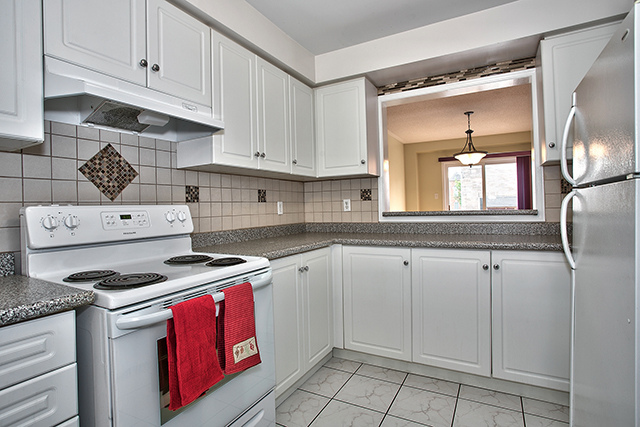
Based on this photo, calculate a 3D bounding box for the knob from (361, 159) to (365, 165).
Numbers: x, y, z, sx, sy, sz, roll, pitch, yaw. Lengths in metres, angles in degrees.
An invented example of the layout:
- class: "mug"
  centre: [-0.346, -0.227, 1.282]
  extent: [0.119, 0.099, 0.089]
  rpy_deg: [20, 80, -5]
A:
- class: "knob"
  centre: [0.373, -0.452, 3.500]
  extent: [0.024, 0.022, 0.024]
  rpy_deg: [11, 26, 29]

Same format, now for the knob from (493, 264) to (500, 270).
- class: "knob"
  centre: [1.215, 0.364, 2.784]
  extent: [0.042, 0.042, 0.016]
  rpy_deg: [5, 5, 28]

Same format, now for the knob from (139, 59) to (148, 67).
- class: "knob"
  centre: [-1.014, -0.872, 2.329]
  extent: [0.019, 0.038, 0.039]
  rpy_deg: [1, -20, 38]

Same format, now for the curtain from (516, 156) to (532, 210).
- class: "curtain"
  centre: [3.633, -0.563, 7.208]
  extent: [0.213, 0.937, 0.344]
  rpy_deg: [-2, 2, 22]

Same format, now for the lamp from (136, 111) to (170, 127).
- class: "lamp"
  centre: [-1.025, -0.581, 2.481]
  extent: [0.215, 0.057, 0.209]
  rpy_deg: [-1, 3, 35]

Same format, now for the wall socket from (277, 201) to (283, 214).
- class: "wall socket"
  centre: [-0.365, -0.056, 3.705]
  extent: [0.015, 0.143, 0.112]
  rpy_deg: [-3, -5, 29]

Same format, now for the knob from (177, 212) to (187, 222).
- class: "knob"
  centre: [-0.879, 0.018, 2.575]
  extent: [0.041, 0.054, 0.054]
  rpy_deg: [-8, -20, -10]

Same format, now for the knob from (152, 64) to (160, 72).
- class: "knob"
  centre: [-0.962, -0.862, 2.375]
  extent: [0.038, 0.037, 0.019]
  rpy_deg: [14, -11, -43]

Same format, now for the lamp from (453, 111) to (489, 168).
- class: "lamp"
  centre: [2.264, -1.136, 6.123]
  extent: [0.531, 0.806, 0.521]
  rpy_deg: [-4, 3, -34]

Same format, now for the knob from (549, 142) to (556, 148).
- class: "knob"
  centre: [1.670, -0.492, 2.895]
  extent: [0.033, 0.033, 0.017]
  rpy_deg: [17, 23, 31]

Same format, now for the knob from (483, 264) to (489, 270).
- class: "knob"
  centre: [1.154, 0.370, 2.810]
  extent: [0.032, 0.021, 0.033]
  rpy_deg: [4, 20, 31]

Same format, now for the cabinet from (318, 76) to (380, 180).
- class: "cabinet"
  centre: [0.286, -0.756, 3.787]
  extent: [0.473, 0.825, 0.470]
  rpy_deg: [-2, 2, 27]
